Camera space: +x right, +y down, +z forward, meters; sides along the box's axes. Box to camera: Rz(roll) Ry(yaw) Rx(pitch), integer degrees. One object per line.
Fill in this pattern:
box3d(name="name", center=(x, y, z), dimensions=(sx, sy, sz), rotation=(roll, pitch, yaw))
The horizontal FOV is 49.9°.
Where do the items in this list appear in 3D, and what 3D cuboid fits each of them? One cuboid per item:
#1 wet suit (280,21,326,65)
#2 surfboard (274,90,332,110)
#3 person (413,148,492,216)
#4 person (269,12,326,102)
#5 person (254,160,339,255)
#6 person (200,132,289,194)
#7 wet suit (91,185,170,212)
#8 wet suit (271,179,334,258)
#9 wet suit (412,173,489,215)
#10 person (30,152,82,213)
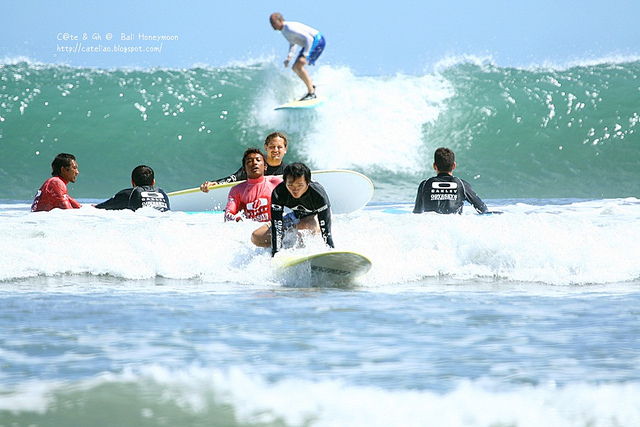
box3d(name="wet suit", center=(-0.341, -3.482, 13.984), dimensions=(0.572, 0.814, 0.949), rotation=(3, 6, 35))
box3d(name="surfboard", center=(-0.385, -2.781, 16.877), dimensions=(1.357, 0.307, 0.386), rotation=(-23, 14, 6))
box3d(name="person", center=(1.562, -0.387, 8.250), dimensions=(0.874, 0.795, 0.366), rotation=(1, 5, 11))
box3d(name="person", center=(-0.398, -3.369, 14.155), dimensions=(0.919, 1.331, 1.759), rotation=(2, 5, 20))
box3d(name="person", center=(-0.242, -0.033, 7.144), dimensions=(0.676, 0.998, 1.044), rotation=(-2, 5, -17))
box3d(name="person", center=(-1.367, -0.885, 11.980), dimensions=(1.893, 0.776, 0.511), rotation=(-6, 23, -20))
box3d(name="wet suit", center=(-2.313, -0.190, 8.556), dimensions=(0.823, 0.327, 0.446), rotation=(-1, 5, -8))
box3d(name="wet suit", center=(-0.152, 0.041, 7.138), dimensions=(0.653, 0.721, 0.661), rotation=(2, 13, 25))
box3d(name="wet suit", center=(1.860, -0.271, 9.791), dimensions=(0.996, 0.854, 0.324), rotation=(1, 24, 12))
box3d(name="person", center=(-3.308, -0.314, 8.809), dimensions=(0.740, 0.836, 0.516), rotation=(9, 2, -4))
